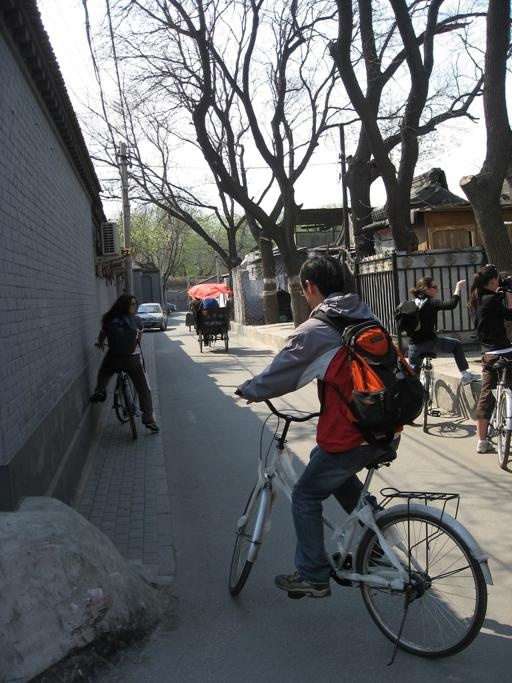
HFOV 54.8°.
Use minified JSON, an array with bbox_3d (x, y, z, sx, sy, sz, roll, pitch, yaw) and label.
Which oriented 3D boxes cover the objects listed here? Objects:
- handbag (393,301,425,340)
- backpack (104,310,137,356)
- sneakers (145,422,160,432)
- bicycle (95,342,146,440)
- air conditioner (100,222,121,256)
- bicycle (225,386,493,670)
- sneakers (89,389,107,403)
[{"bbox_3d":[2.067,-0.340,6.730,0.396,0.596,0.496,-8,7,-3],"label":"handbag"},{"bbox_3d":[-1.996,-0.126,7.338,0.564,0.786,0.414,2,-11,-10],"label":"backpack"},{"bbox_3d":[-1.565,1.285,7.470,0.214,0.163,0.295,-3,-1,-10],"label":"sneakers"},{"bbox_3d":[-2.046,1.013,7.840,0.571,0.726,1.202,-9,-14,-9],"label":"bicycle"},{"bbox_3d":[-3.840,-2.715,12.960,0.456,0.889,0.404,-3,0,-15],"label":"air conditioner"},{"bbox_3d":[0.560,0.923,2.635,0.794,1.044,1.608,-1,7,-41],"label":"bicycle"},{"bbox_3d":[-2.276,0.796,7.152,0.202,0.190,0.361,-3,-1,5],"label":"sneakers"}]
